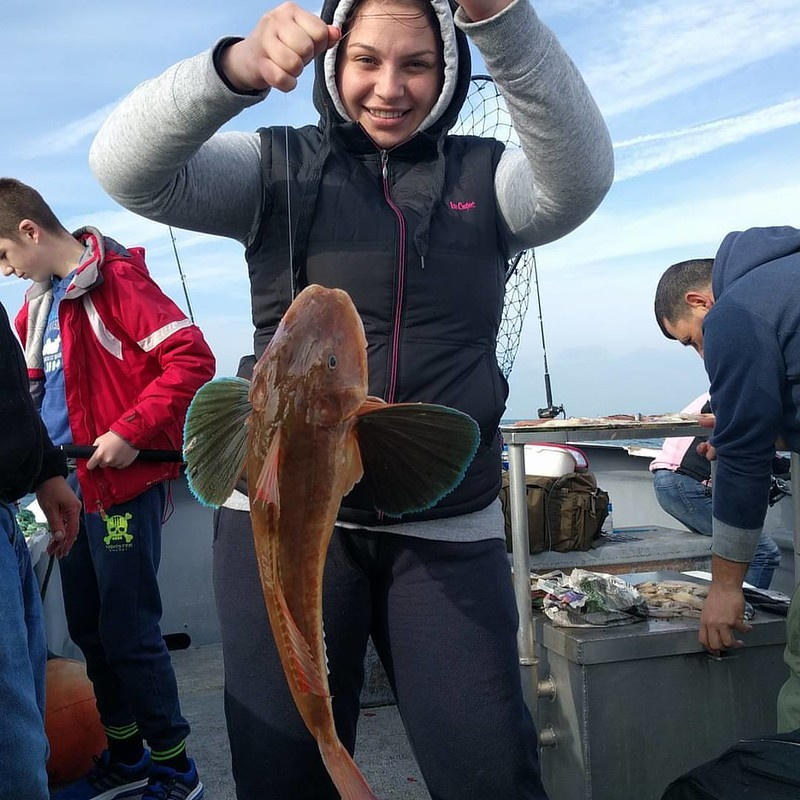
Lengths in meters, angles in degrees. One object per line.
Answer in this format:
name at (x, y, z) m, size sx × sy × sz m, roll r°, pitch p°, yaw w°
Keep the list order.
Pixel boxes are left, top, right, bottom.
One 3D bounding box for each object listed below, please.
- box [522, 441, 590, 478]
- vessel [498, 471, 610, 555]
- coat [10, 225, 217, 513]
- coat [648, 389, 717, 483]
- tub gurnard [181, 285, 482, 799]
box at (0.760, 0.301, 4.185) m, size 0.218 × 0.130 × 0.440 m, roll -1°, pitch 0°, yaw 5°
vessel at (0.682, 0.500, 3.781) m, size 0.449 × 0.361 × 0.492 m, roll -3°, pitch -4°, yaw 4°
coat at (-0.936, -0.071, 2.689) m, size 0.696 × 1.007 × 0.513 m, roll -13°, pitch -13°, yaw 26°
coat at (1.361, 0.215, 3.998) m, size 0.255 × 0.433 × 0.174 m, roll 7°, pitch -17°, yaw 26°
tub gurnard at (-0.065, 0.216, 1.510) m, size 0.288 × 0.833 × 0.373 m, roll 4°, pitch 6°, yaw 40°
